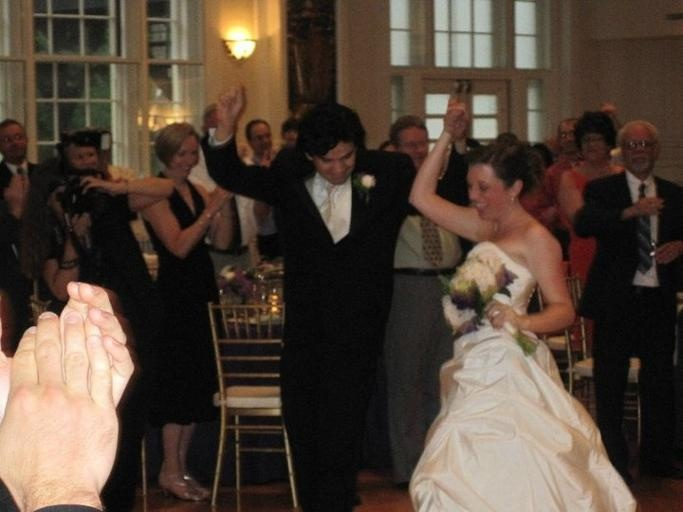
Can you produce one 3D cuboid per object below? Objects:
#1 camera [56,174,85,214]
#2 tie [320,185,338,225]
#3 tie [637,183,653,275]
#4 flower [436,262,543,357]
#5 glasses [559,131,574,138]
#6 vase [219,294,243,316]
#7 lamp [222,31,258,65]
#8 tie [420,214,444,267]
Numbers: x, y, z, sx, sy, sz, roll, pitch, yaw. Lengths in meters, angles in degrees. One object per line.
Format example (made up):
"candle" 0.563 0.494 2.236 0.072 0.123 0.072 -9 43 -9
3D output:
"camera" -1.371 -0.306 5.224 0.143 0.205 0.074 -2 -10 -5
"tie" -0.062 -0.251 4.931 0.057 0.197 0.033 6 -8 0
"tie" 1.771 -0.117 6.060 0.068 0.644 0.113 10 -15 -10
"flower" 0.727 0.268 4.940 0.371 0.481 0.252 -30 -6 37
"glasses" 1.710 -0.914 7.752 0.091 0.049 0.092 -4 16 4
"vase" -0.658 0.282 6.069 0.199 0.114 0.134 2 32 -7
"lamp" -1.110 -2.255 11.057 0.308 0.232 0.299 -3 1 -10
"tie" 0.524 -0.075 5.968 0.177 0.247 0.088 -9 0 -30
